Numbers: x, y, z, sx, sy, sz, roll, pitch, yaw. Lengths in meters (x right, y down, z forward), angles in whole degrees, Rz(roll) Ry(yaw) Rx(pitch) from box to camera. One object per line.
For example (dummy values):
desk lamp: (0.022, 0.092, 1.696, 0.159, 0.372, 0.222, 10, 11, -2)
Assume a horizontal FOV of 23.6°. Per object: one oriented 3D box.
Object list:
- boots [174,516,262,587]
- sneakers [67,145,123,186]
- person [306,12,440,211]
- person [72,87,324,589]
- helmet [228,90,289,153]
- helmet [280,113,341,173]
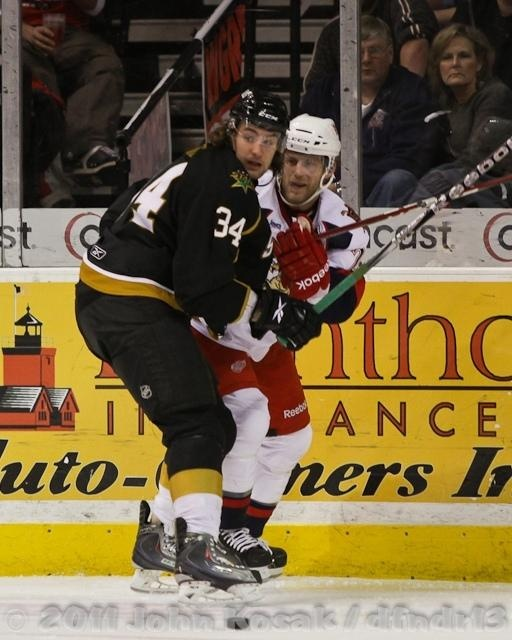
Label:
boots: (-0.144, 0.717, 3.793, 0.341, 0.196, 0.110, 23, -20, -36)
sneakers: (-0.622, -0.607, 4.845, 0.214, 0.132, 0.092, -9, -27, -8)
person: (0.488, -0.828, 5.026, 0.599, 0.662, 0.274, -16, 3, 0)
person: (-0.140, 0.022, 3.883, 0.659, 1.500, 0.648, -1, 12, -28)
helmet: (0.016, -0.667, 4.119, 0.171, 0.161, 0.186, 15, -11, -9)
helmet: (0.234, -0.636, 4.398, 0.183, 0.171, 0.202, 6, -7, 19)
